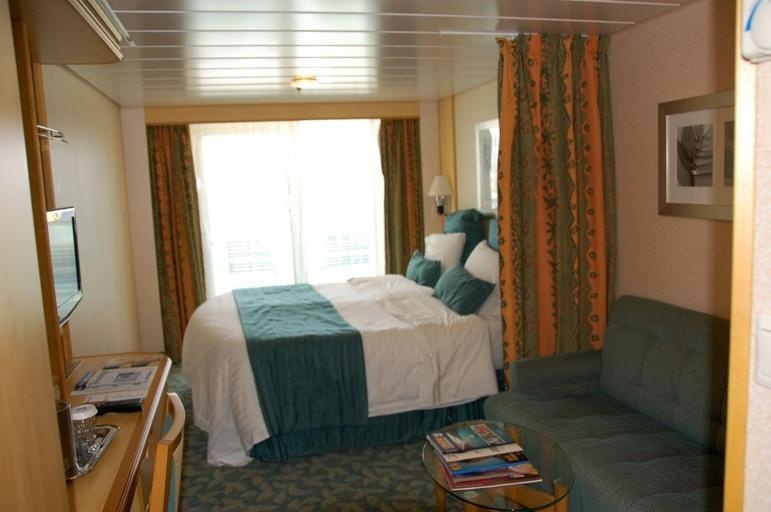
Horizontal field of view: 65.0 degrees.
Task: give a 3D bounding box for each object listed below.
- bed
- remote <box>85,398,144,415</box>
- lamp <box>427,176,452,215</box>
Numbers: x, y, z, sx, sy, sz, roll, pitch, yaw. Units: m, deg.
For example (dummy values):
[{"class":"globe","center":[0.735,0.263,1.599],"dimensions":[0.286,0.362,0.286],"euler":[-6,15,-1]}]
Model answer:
[{"class":"bed","center":[-0.378,0.524,4.975],"dimensions":[2.223,1.186,1.742],"euler":[0,5,-15]},{"class":"remote","center":[-1.294,0.722,2.974],"dimensions":[0.310,0.081,0.073],"euler":[-2,28,-2]},{"class":"lamp","center":[0.663,-0.718,7.261],"dimensions":[0.328,0.477,0.288],"euler":[0,1,-22]}]
